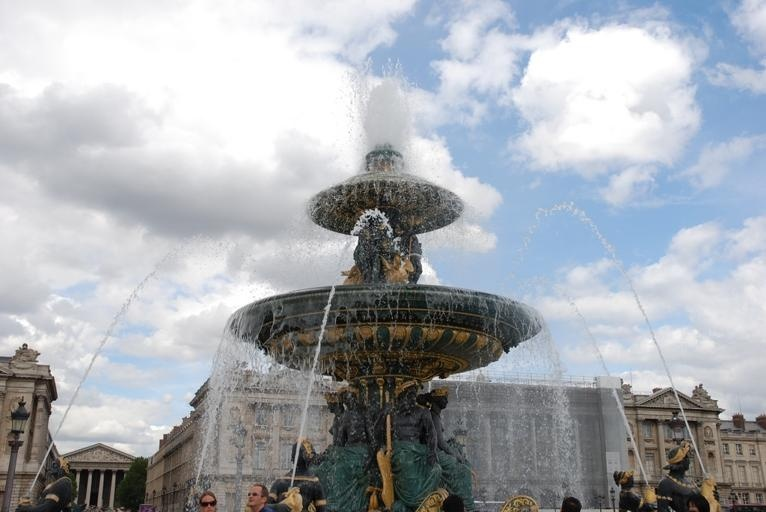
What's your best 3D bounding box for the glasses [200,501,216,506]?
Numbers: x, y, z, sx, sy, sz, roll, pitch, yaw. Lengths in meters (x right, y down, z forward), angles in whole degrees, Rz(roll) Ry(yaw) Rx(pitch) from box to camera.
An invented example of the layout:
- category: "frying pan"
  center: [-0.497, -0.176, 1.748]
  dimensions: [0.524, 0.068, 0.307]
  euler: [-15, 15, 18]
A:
- category: "glasses"
  center: [-3.167, 4.496, 14.278]
  dimensions: [0.251, 0.083, 0.109]
  euler: [19, -34, -29]
